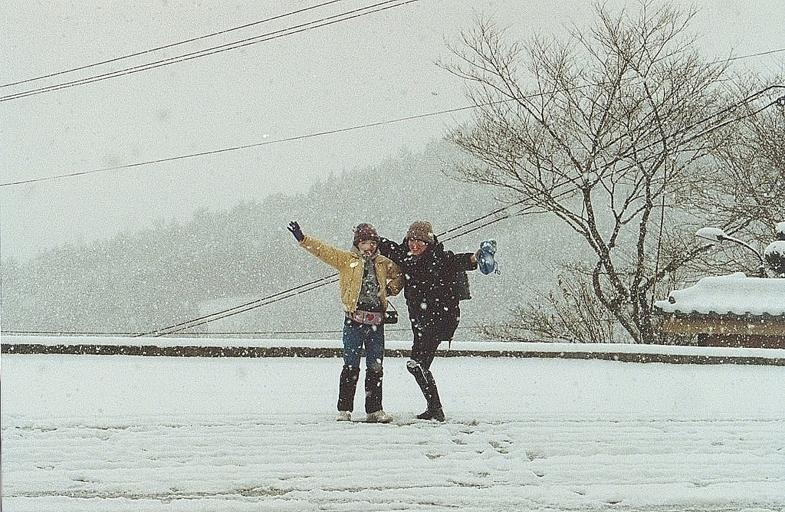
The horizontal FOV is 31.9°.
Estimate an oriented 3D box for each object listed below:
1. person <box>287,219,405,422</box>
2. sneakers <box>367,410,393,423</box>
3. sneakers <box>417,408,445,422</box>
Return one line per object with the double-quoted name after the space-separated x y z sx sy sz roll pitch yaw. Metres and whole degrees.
-0.478 0.859 17.871 1.183 2.579 0.455 -1 -6 0 "person"
-0.193 2.075 17.889 0.264 0.120 0.160 -3 -3 9 "sneakers"
0.503 2.069 17.924 0.379 0.273 0.141 3 -5 13 "sneakers"
